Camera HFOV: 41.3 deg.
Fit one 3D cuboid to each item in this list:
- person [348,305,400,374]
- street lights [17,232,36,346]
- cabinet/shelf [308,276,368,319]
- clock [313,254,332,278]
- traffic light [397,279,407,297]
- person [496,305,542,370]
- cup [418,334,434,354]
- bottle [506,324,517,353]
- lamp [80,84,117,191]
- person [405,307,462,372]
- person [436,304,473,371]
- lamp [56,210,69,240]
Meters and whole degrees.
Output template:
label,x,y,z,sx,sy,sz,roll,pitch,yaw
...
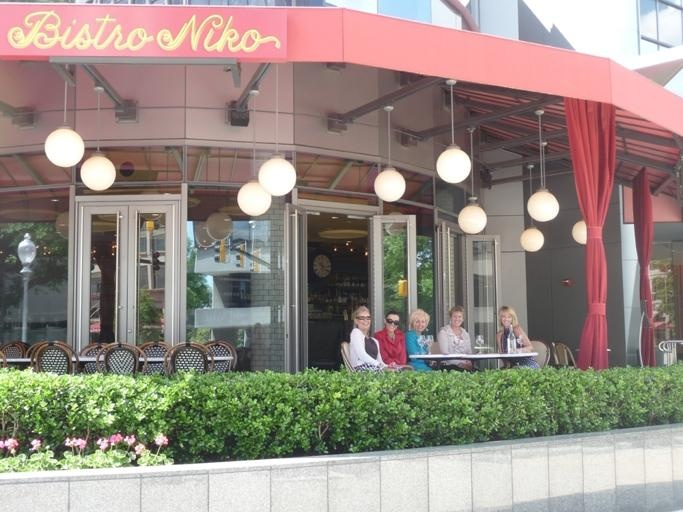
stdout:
label,x,y,z,sx,sy,sz,roll,pitch,yaw
person,0.334,1.036,11.435,0.591,0.852,0.725,-4,-10,15
street lights,-4.550,0.453,13.062,0.329,1.567,0.126,-9,-11,39
cabinet/shelf,-0.068,0.930,20.621,1.663,1.171,1.279,1,-10,-17
clock,-0.473,0.239,21.060,0.417,0.440,0.055,-26,12,-41
traffic light,0.917,0.484,13.653,0.199,0.291,0.207,1,-2,1
person,2.326,1.083,12.106,0.480,0.827,0.884,-3,-9,10
cup,1.143,1.216,12.394,0.226,0.385,0.254,2,-11,-11
bottle,2.226,1.081,11.886,0.139,0.388,0.418,-3,-9,10
lamp,-3.307,-1.602,12.382,0.476,1.619,1.430,1,-10,-15
person,1.161,1.174,12.069,0.532,1.223,0.627,11,-14,-40
person,1.574,1.130,12.284,0.467,0.852,0.470,5,-6,-29
lamp,-3.992,-0.435,12.978,0.224,0.376,0.078,-4,-9,17
